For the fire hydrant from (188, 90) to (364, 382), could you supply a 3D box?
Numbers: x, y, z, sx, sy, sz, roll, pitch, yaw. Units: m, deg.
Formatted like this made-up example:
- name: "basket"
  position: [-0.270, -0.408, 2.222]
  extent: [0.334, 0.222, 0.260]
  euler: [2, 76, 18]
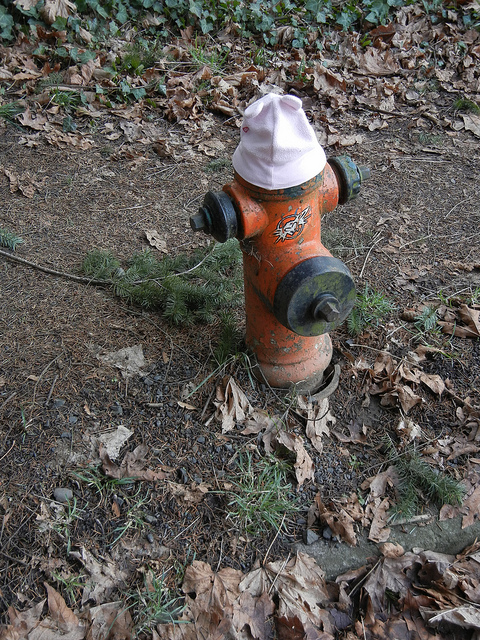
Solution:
- name: "fire hydrant"
  position: [0.213, -0.276, 2.629]
  extent: [0.885, 1.505, 0.557]
  euler: [1, 34, -14]

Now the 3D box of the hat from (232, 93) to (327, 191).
- name: "hat"
  position: [0.172, -0.743, 2.285]
  extent: [0.398, 0.274, 0.410]
  euler: [3, 49, 2]
